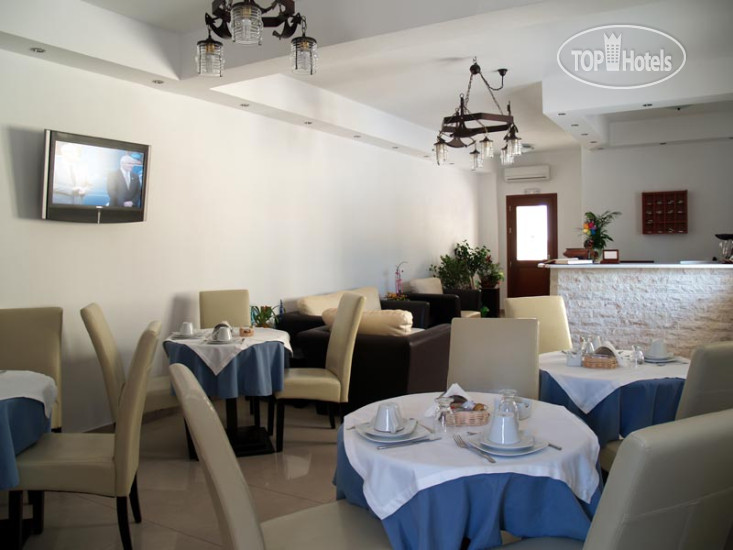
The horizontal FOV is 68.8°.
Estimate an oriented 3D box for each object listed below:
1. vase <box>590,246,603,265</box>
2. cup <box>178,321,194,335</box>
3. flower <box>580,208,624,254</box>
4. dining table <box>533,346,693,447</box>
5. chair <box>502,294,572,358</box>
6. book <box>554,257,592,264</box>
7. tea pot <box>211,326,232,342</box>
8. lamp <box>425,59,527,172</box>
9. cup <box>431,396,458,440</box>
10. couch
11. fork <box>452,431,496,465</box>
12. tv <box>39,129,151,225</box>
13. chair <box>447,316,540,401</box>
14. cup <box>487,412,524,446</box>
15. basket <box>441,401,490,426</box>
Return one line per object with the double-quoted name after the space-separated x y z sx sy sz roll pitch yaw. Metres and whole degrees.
2.788 -0.238 6.495 0.138 0.156 0.623 2 5 23 "vase"
-1.524 0.456 4.501 0.106 0.115 0.080 -9 -21 21 "cup"
3.314 -0.609 7.452 0.686 0.771 0.557 6 8 44 "flower"
1.555 0.852 3.569 0.923 0.602 0.919 17 8 35 "dining table"
1.236 0.364 4.251 0.358 0.476 0.357 3 24 10 "chair"
2.556 -0.165 6.525 0.373 0.049 1.168 2 5 25 "book"
-1.120 0.464 4.133 0.127 0.104 0.106 -4 0 31 "tea pot"
1.172 -1.806 5.556 0.807 1.032 0.839 1 16 22 "lamp"
0.362 0.683 2.493 0.089 0.163 0.099 6 -18 -1 "cup"
0.237 0.711 5.389 1.370 1.240 1.370 2 4 32 "couch"
0.438 0.729 2.238 0.043 0.044 0.351 -5 13 -15 "fork"
-2.277 -0.804 4.412 0.083 0.777 0.818 3 1 41 "tv"
0.832 0.521 3.516 0.437 0.708 0.531 5 -5 12 "chair"
0.572 0.630 2.218 0.118 0.096 0.126 -3 3 0 "cup"
0.463 0.662 2.503 0.155 0.058 0.122 -3 0 8 "basket"
